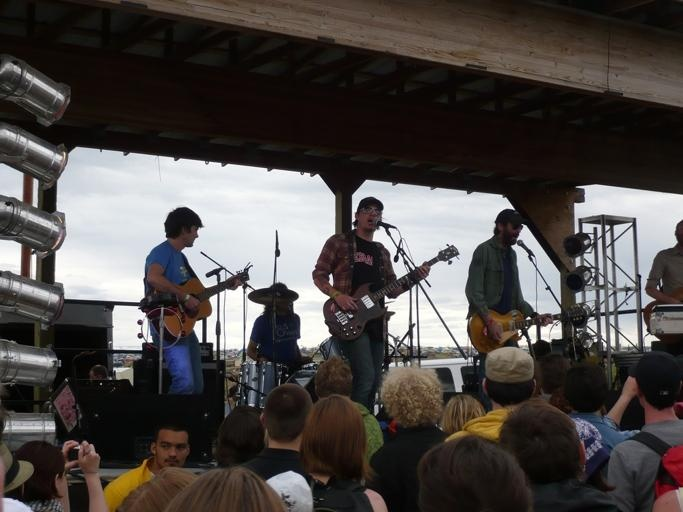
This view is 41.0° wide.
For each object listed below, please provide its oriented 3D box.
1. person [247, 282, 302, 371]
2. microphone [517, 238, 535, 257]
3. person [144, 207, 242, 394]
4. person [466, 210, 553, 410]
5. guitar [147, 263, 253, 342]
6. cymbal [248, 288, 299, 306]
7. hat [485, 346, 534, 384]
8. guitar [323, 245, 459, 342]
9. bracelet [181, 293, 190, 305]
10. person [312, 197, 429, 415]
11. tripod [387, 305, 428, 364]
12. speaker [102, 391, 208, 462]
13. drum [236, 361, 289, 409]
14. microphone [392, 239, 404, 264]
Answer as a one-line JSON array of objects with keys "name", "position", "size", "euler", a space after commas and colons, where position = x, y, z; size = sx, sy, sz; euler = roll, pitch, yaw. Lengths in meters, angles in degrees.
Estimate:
[{"name": "person", "position": [-0.710, 0.777, 10.133], "size": [0.546, 0.994, 0.598], "euler": [1, -4, -13]}, {"name": "microphone", "position": [1.887, -0.086, 9.472], "size": [0.279, 0.085, 0.086], "euler": [33, 23, -12]}, {"name": "person", "position": [-1.413, 0.613, 8.550], "size": [0.745, 2.136, 0.783], "euler": [-1, -1, 6]}, {"name": "person", "position": [1.511, 0.419, 8.730], "size": [0.636, 1.875, 0.630], "euler": [7, 5, 37]}, {"name": "guitar", "position": [-1.377, 0.480, 8.709], "size": [0.396, 0.733, 1.220], "euler": [-5, -10, 27]}, {"name": "cymbal", "position": [-0.755, 0.437, 9.974], "size": [0.357, 0.087, 0.356], "euler": [16, -30, -26]}, {"name": "hat", "position": [1.073, 0.650, 5.745], "size": [0.302, 0.175, 0.455], "euler": [3, 8, 12]}, {"name": "guitar", "position": [0.416, 0.338, 8.380], "size": [1.022, 0.333, 0.129], "euler": [-36, -7, -24]}, {"name": "bracelet", "position": [-1.417, 0.379, 8.330], "size": [0.019, 0.071, 0.071], "euler": [-6, -41, 45]}, {"name": "person", "position": [0.197, 0.329, 8.096], "size": [0.732, 1.982, 0.740], "euler": [0, -1, -20]}, {"name": "tripod", "position": [0.671, 0.897, 9.774], "size": [0.317, 0.697, 0.386], "euler": [5, 3, -5]}, {"name": "speaker", "position": [-1.565, 1.468, 7.938], "size": [0.959, 0.541, 0.629], "euler": [-3, -11, -2]}, {"name": "drum", "position": [-0.818, 1.297, 9.505], "size": [0.700, 0.588, 0.608], "euler": [2, 2, -19]}, {"name": "microphone", "position": [0.458, -0.064, 7.353], "size": [0.063, 0.216, 0.095], "euler": [3, 3, -16]}]
